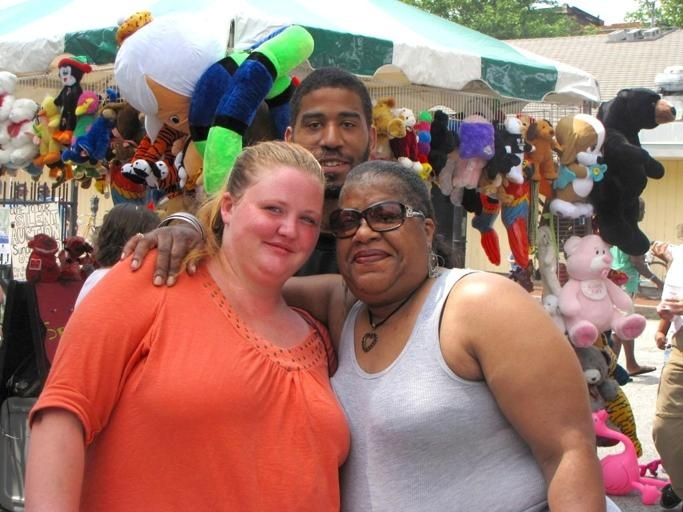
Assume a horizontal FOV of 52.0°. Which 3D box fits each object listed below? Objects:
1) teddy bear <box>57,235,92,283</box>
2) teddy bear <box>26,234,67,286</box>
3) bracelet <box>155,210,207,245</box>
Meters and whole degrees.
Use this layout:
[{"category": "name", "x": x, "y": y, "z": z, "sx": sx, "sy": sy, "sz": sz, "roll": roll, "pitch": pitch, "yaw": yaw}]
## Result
[{"category": "teddy bear", "x": -2.467, "y": 0.019, "z": 6.442, "sx": 0.269, "sy": 0.436, "sz": 0.334, "roll": 5, "pitch": 2, "yaw": 38}, {"category": "teddy bear", "x": -2.588, "y": 0.010, "z": 6.072, "sx": 0.252, "sy": 0.450, "sz": 0.297, "roll": 0, "pitch": 14, "yaw": -22}, {"category": "bracelet", "x": -0.727, "y": -0.148, "z": 3.326, "sx": 0.167, "sy": 0.143, "sz": 0.060, "roll": 44, "pitch": 17, "yaw": 0}]
